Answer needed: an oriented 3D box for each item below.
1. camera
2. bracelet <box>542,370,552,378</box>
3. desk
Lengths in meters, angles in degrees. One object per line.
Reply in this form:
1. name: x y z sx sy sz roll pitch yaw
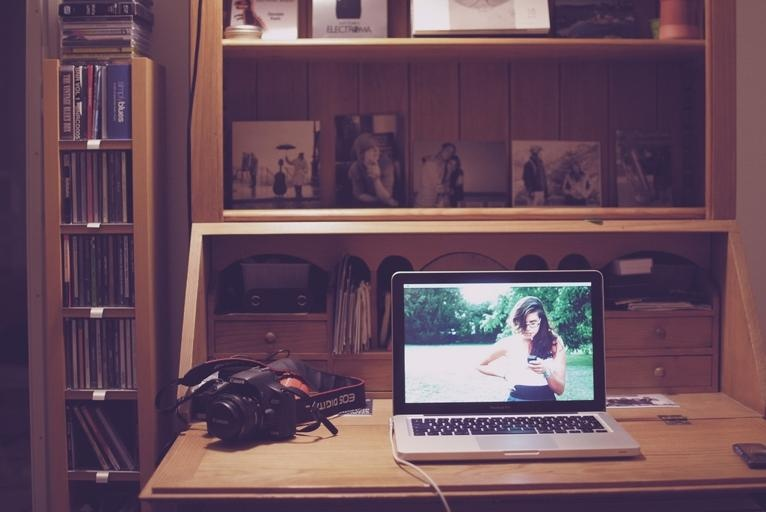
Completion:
1. camera: -0.474 0.497 2.664 0.312 0.226 0.241 -3 -2 26
2. bracelet: 0.554 0.400 2.727 0.024 0.024 0.008 -4 -7 12
3. desk: 0.234 0.023 2.831 1.838 1.798 0.985 0 -3 -1
